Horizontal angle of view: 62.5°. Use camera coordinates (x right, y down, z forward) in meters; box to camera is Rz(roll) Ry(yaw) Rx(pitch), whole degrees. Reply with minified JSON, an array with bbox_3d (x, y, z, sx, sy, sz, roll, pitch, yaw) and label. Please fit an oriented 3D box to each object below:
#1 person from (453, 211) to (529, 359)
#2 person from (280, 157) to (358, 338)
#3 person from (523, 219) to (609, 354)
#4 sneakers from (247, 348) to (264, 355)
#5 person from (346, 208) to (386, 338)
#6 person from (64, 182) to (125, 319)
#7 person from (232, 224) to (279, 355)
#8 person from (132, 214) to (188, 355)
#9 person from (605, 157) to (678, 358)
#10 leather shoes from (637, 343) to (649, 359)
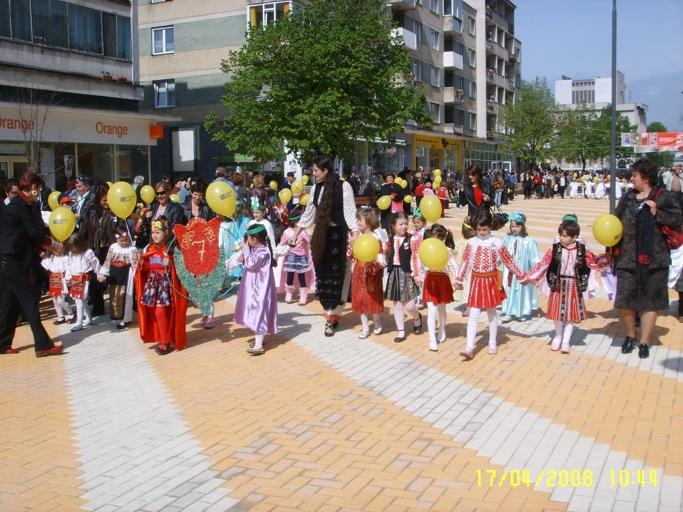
[{"bbox_3d":[2.082,0.361,7.951,0.817,1.986,1.319,1,8,17],"label":"person"},{"bbox_3d":[-0.134,-0.156,8.755,0.975,2.708,0.817,5,14,27],"label":"person"},{"bbox_3d":[3.057,0.420,7.696,1.005,1.811,0.434,1,7,18],"label":"person"},{"bbox_3d":[-1.230,1.365,8.034,0.178,0.071,0.098,8,-8,-38],"label":"sneakers"},{"bbox_3d":[0.398,0.283,8.731,0.536,2.025,1.388,-1,8,1],"label":"person"},{"bbox_3d":[-4.424,0.027,10.635,0.848,2.602,0.708,3,-19,-35],"label":"person"},{"bbox_3d":[-1.248,0.471,8.098,0.581,1.834,0.395,-3,7,-13],"label":"person"},{"bbox_3d":[-2.723,0.424,8.376,0.666,1.946,0.561,5,10,42],"label":"person"},{"bbox_3d":[4.063,0.015,7.519,0.842,2.609,0.673,2,8,27],"label":"person"},{"bbox_3d":[4.025,1.247,7.467,0.129,0.188,0.258,2,9,27],"label":"leather shoes"}]
